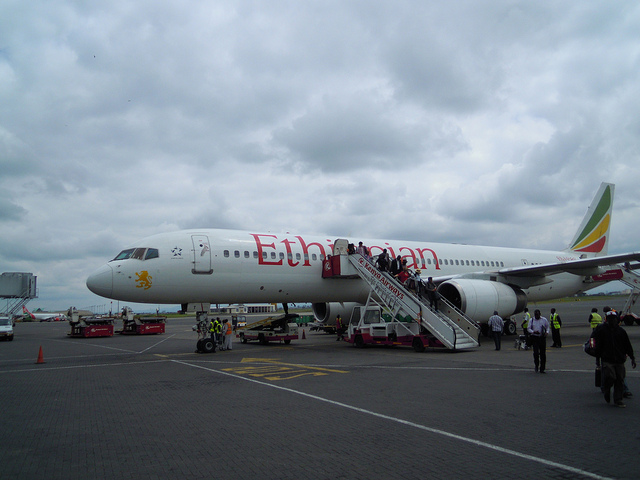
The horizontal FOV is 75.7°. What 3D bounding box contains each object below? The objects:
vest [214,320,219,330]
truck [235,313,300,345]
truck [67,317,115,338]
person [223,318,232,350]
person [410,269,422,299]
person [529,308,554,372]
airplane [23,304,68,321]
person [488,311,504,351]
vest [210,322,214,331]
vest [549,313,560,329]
[{"bbox_3d":[-5.365,4.402,21.440,0.196,0.486,0.267,0,-11,-7],"label":"vest"},{"bbox_3d":[-3.498,5.790,26.705,3.934,1.504,2.139,-3,-8,39],"label":"truck"},{"bbox_3d":[-22.336,8.580,40.274,3.359,1.355,2.528,-1,-6,-4],"label":"truck"},{"bbox_3d":[-5.125,5.271,22.881,0.440,1.568,1.357,1,-11,-12],"label":"person"},{"bbox_3d":[4.951,2.306,21.387,0.491,1.454,1.211,-1,-3,-21],"label":"person"},{"bbox_3d":[7.215,3.349,13.512,0.574,1.924,0.519,-6,-12,24],"label":"person"},{"bbox_3d":[-64.502,17.840,97.067,7.918,2.439,6.993,6,-13,-35],"label":"airplane"},{"bbox_3d":[8.717,4.555,20.331,0.572,1.631,1.464,-6,-11,22],"label":"person"},{"bbox_3d":[-5.591,4.471,21.301,0.229,0.416,0.232,-4,-11,13],"label":"vest"},{"bbox_3d":[11.771,4.063,20.720,0.336,0.769,0.587,-8,-12,32],"label":"vest"}]
